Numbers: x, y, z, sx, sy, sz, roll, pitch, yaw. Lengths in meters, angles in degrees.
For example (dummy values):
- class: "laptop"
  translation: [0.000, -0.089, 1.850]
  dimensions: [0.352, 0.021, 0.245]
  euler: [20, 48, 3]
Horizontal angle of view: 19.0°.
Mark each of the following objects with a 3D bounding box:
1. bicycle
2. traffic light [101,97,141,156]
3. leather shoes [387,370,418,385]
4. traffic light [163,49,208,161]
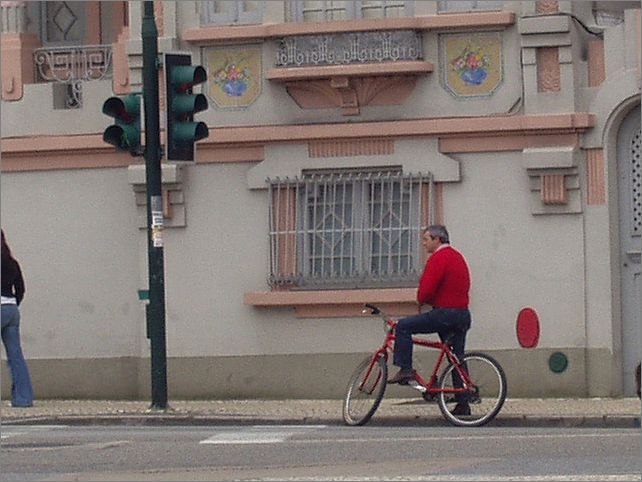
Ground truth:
- class: "bicycle"
  translation: [1.397, 1.655, 24.357]
  dimensions: [2.288, 1.612, 1.192]
  euler: [3, -14, 15]
- class: "traffic light"
  translation: [-2.625, -1.663, 25.603]
  dimensions: [0.510, 0.847, 0.460]
  euler: [-1, 0, 1]
- class: "leather shoes"
  translation: [1.076, 1.724, 24.256]
  dimensions: [0.405, 0.199, 0.143]
  euler: [1, -3, 14]
- class: "traffic light"
  translation: [-1.762, -1.876, 25.270]
  dimensions: [0.572, 1.470, 0.371]
  euler: [-1, 1, -21]
